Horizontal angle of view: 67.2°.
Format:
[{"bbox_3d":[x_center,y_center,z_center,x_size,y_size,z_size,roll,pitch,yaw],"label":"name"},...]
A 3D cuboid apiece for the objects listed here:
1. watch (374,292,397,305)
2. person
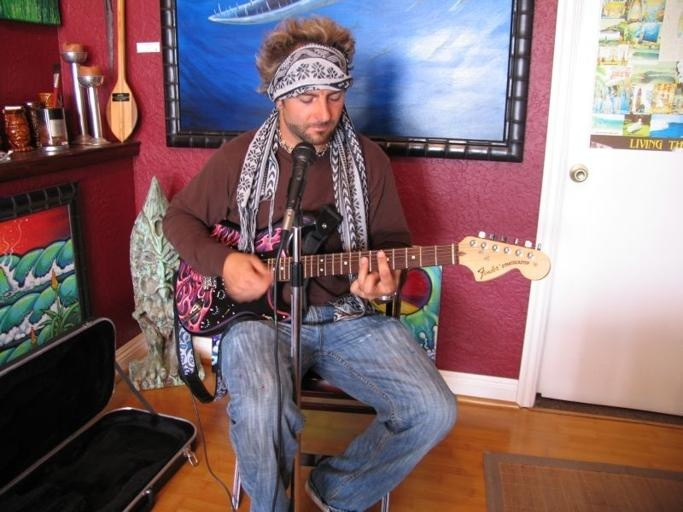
[{"bbox_3d":[0.168,0.167,1.977,0.062,0.031,0.084,-5,7,-20],"label":"watch"},{"bbox_3d":[-0.149,0.080,1.958,0.961,1.943,0.846,-3,14,-19],"label":"person"}]
